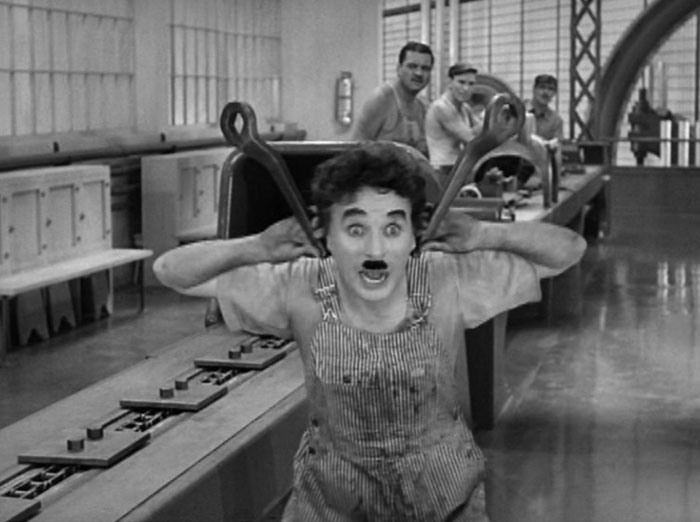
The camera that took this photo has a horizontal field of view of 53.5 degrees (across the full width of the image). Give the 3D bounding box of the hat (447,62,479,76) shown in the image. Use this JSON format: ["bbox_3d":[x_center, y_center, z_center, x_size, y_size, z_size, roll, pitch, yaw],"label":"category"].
[{"bbox_3d":[0.918,-1.557,5.688,0.213,0.122,0.230,1,10,17],"label":"hat"}]
